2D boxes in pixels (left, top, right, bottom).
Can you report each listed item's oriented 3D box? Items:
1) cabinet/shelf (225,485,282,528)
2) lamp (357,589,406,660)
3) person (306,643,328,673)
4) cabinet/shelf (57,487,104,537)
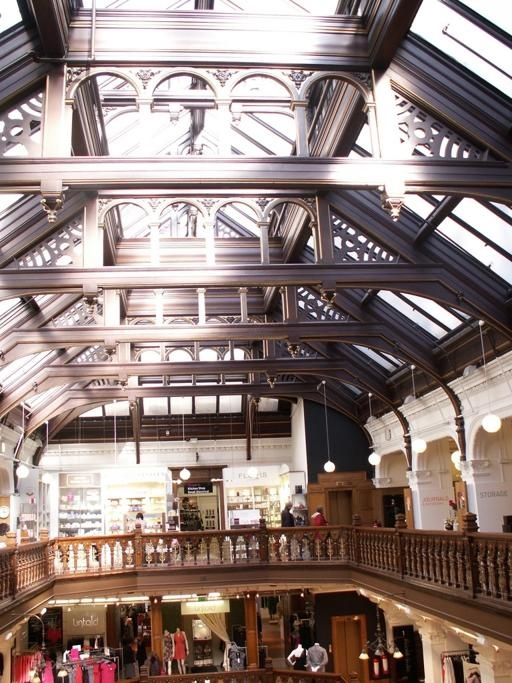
[{"bbox_3d":[-0.115,5.532,21.048,1.910,1.321,1.815,-3,-15,0],"label":"cabinet/shelf"},{"bbox_3d":[3.212,7.524,16.402,0.915,1.391,0.925,-31,-53,33],"label":"lamp"},{"bbox_3d":[1.438,7.576,14.888,0.424,0.751,1.053,-3,-14,0],"label":"person"},{"bbox_3d":[-5.998,5.905,20.956,1.424,2.287,0.806,11,-39,-28],"label":"cabinet/shelf"}]
